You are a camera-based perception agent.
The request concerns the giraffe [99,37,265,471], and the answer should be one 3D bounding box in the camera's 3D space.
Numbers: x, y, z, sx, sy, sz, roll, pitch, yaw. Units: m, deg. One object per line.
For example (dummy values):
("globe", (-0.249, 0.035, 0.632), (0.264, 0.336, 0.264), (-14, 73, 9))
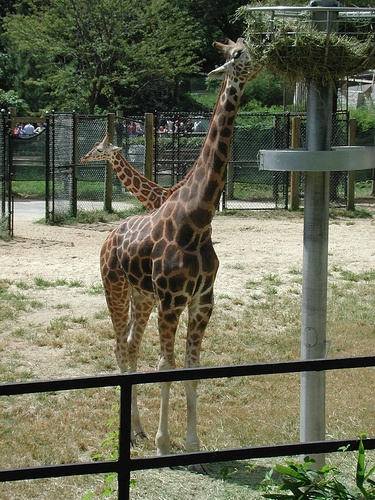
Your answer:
("giraffe", (-0.049, -0.172, 4.547), (0.584, 2.163, 1.155), (-8, 11, -41))
